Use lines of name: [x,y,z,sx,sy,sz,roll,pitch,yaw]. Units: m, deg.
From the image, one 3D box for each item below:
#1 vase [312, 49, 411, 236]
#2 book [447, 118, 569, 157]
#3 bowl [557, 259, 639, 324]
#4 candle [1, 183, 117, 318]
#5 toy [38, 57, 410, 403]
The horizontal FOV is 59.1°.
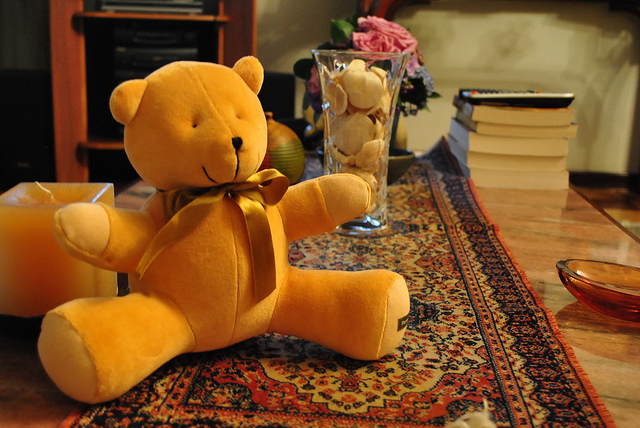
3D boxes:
vase: [0.067,-0.155,1.038,0.153,0.351,0.169,-7,22,-32]
book: [0.534,-0.174,1.414,0.309,0.061,0.322,-3,7,-26]
bowl: [0.384,0.099,0.786,0.089,0.033,0.089,13,7,-2]
candle: [-0.304,0.039,0.773,0.140,0.155,0.184,-2,15,-13]
toy: [-0.124,0.013,0.685,0.431,0.365,0.249,-7,12,-31]
